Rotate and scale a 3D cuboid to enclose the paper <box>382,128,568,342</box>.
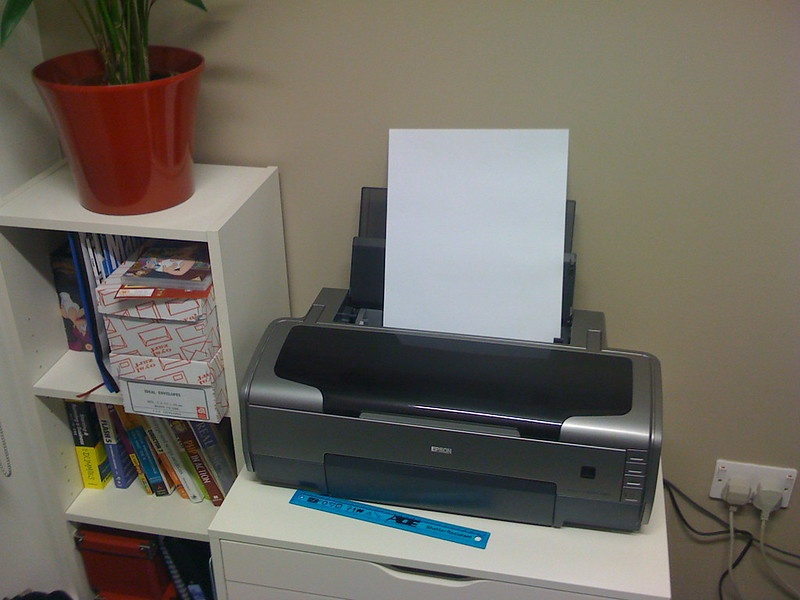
[{"bbox_3d":[0.163,-0.136,1.400,0.380,0.448,0.034,3,6,12],"label":"paper"}]

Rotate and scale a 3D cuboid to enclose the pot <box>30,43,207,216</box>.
[{"bbox_3d":[-0.551,-0.357,1.513,0.315,0.274,0.350,2,29,1],"label":"pot"}]

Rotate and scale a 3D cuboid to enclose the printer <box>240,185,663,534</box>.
[{"bbox_3d":[0.119,0.003,1.336,0.689,0.502,0.419,7,36,8],"label":"printer"}]
